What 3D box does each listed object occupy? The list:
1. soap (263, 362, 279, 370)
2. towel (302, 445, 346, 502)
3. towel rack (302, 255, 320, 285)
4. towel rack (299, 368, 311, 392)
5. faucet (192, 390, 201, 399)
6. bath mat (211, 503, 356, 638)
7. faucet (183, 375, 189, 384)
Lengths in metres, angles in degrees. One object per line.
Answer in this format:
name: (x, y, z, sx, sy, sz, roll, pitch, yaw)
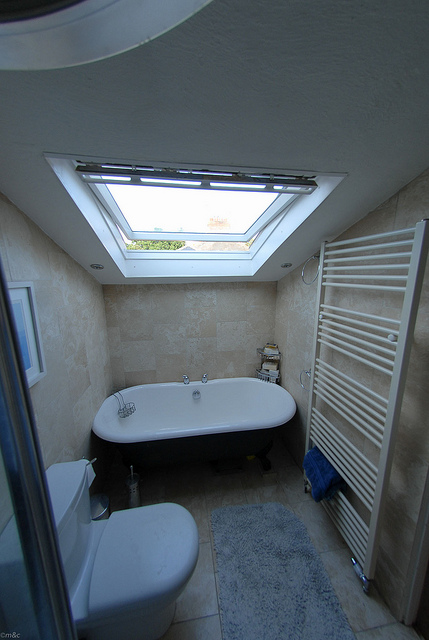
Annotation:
soap: (0.446, 0.371, 3.008, 0.128, 0.043, 0.098, 3, 13, 18)
towel: (0.545, 0.790, 1.999, 0.229, 0.224, 0.202, 6, 15, -17)
towel rack: (0.607, -0.304, 2.355, 0.025, 0.130, 0.098, 6, -23, -15)
towel rack: (0.590, 0.388, 2.474, 0.027, 0.117, 0.088, -4, -4, -11)
faucet: (-0.154, 0.567, 2.947, 0.047, 0.101, 0.086, 4, -9, -39)
bath mat: (0.260, 1.129, 1.780, 0.512, 0.026, 0.748, -3, 13, -6)
faucet: (-0.228, 0.471, 2.961, 0.045, 0.082, 0.042, 1, 7, -18)
